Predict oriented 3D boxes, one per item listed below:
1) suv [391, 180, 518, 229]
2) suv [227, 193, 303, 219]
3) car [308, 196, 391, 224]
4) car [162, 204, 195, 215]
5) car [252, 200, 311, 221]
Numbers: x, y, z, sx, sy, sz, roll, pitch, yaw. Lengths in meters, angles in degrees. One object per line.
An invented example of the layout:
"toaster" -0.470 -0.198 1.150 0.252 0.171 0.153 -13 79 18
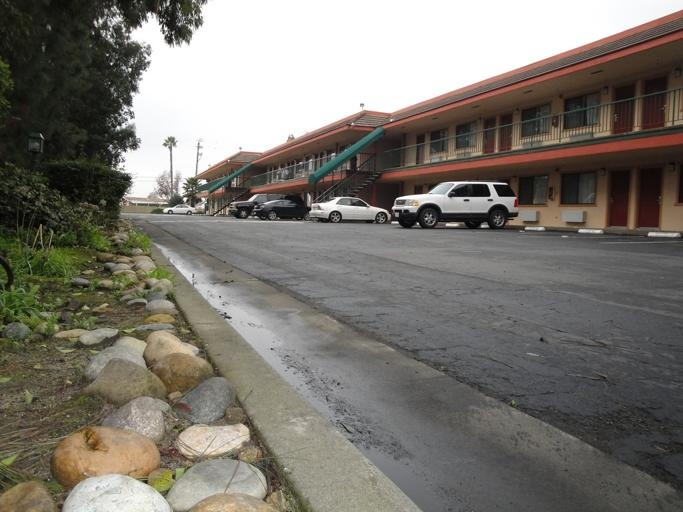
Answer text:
"suv" 5.628 -2.567 22.709 5.527 2.007 2.671 2 0 -16
"suv" -6.169 -4.280 37.516 5.481 1.716 2.812 1 1 -14
"car" 0.643 -3.006 29.446 4.921 1.413 2.068 -2 4 -18
"car" -24.433 -7.054 66.374 3.300 1.305 3.431 5 6 11
"car" -4.976 -3.836 36.852 4.156 1.242 1.844 -3 6 -22
